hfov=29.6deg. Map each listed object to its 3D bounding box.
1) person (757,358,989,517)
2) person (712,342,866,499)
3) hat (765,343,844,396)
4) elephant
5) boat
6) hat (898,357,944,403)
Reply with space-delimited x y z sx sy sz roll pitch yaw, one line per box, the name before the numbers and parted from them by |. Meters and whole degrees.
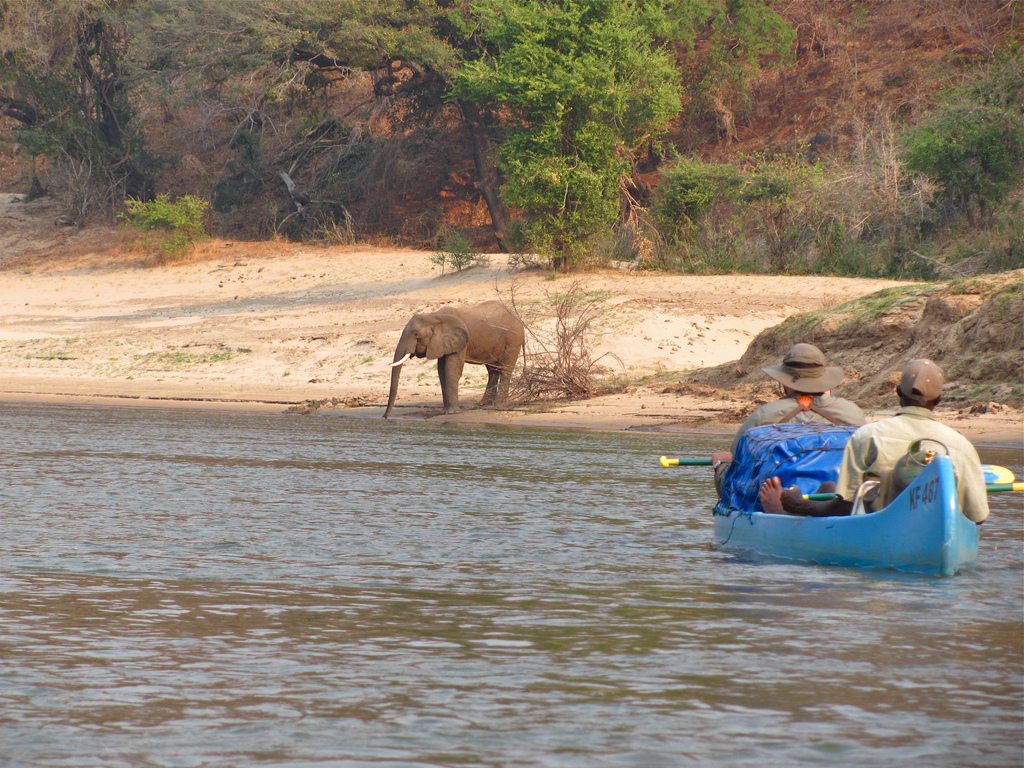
person | 3.379 0.663 18.450 1.286 0.856 2.131 12 -2 -16
person | 2.583 0.344 18.966 2.147 1.328 1.040 -3 16 -30
hat | 2.822 -0.180 18.730 0.931 0.317 0.853 6 10 -2
elephant | -1.048 -0.454 31.835 3.011 1.702 1.215 -6 6 -42
boat | 3.239 1.312 18.144 1.142 0.612 2.159 3 -5 -44
hat | 3.768 -0.081 17.714 0.381 0.225 0.501 9 20 14
